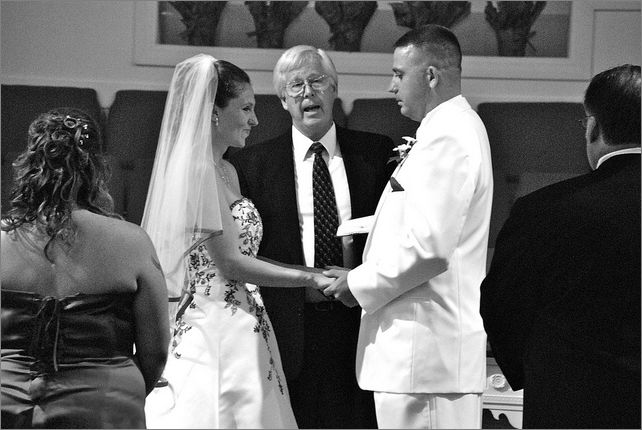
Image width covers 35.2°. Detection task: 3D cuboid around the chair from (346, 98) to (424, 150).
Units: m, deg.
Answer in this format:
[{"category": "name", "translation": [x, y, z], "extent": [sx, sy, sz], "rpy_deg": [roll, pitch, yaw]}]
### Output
[{"category": "chair", "translation": [0.404, -0.625, 6.250], "extent": [0.415, 0.300, 0.411], "rpy_deg": [5, 19, 12]}]

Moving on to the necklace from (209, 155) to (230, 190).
[{"category": "necklace", "translation": [-0.489, -0.214, 5.089], "extent": [0.037, 0.141, 0.106], "rpy_deg": [-26, 2, 19]}]

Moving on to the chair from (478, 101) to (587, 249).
[{"category": "chair", "translation": [1.290, -0.274, 6.510], "extent": [0.849, 1.066, 0.842], "rpy_deg": [-1, -3, 8]}]
